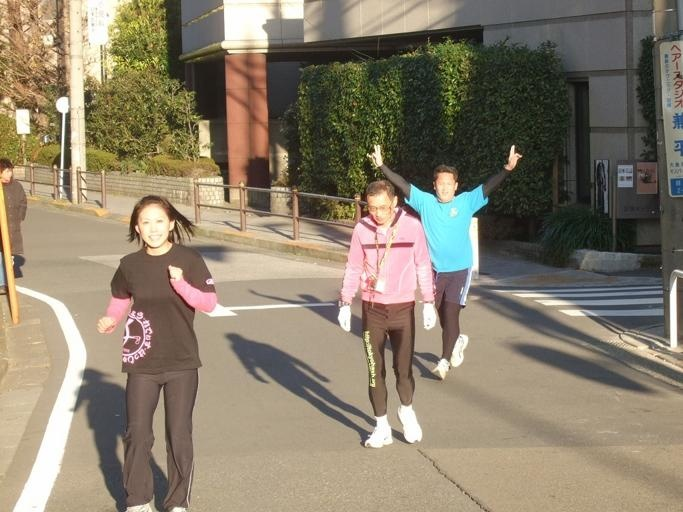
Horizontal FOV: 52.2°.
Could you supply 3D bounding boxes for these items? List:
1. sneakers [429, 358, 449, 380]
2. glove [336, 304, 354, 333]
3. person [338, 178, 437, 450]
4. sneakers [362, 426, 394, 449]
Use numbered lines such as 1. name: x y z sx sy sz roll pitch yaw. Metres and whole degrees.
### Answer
1. sneakers: 1.084 1.281 7.743 0.127 0.288 0.120 10 42 9
2. glove: 0.014 0.543 6.193 0.115 0.376 0.243 7 3 -3
3. person: 0.386 0.484 6.083 0.846 2.272 0.623 1 7 4
4. sneakers: 0.305 1.549 5.961 0.273 0.237 0.127 -3 4 -23
